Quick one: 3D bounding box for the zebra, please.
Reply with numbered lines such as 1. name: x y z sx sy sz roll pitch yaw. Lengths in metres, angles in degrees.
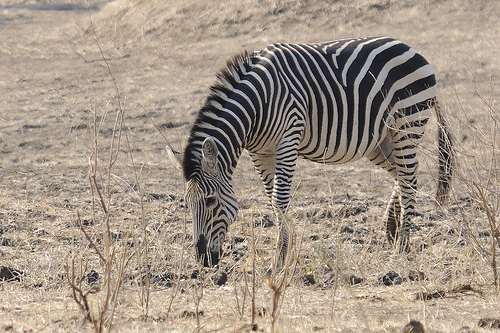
1. zebra: 1.560 -0.305 19.880 5.936 5.017 1.591 -7 3 -16
